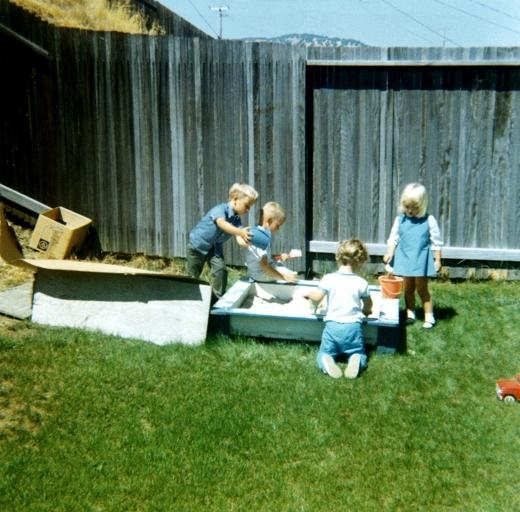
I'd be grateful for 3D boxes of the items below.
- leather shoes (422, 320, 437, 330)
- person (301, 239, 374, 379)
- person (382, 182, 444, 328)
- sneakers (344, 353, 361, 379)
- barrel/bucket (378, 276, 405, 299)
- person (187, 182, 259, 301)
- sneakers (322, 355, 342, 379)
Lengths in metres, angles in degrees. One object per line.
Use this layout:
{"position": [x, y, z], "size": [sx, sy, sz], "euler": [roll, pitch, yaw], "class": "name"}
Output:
{"position": [1.384, 0.551, 5.195], "size": [0.104, 0.046, 0.047], "euler": [-8, 28, -14], "class": "leather shoes"}
{"position": [0.562, 0.328, 4.482], "size": [0.447, 0.859, 0.651], "euler": [2, 9, 11], "class": "person"}
{"position": [1.282, -0.031, 5.291], "size": [0.428, 1.150, 0.450], "euler": [-1, 9, -9], "class": "person"}
{"position": [0.623, 0.729, 4.301], "size": [0.100, 0.131, 0.166], "euler": [3, 10, 14], "class": "sneakers"}
{"position": [1.082, 0.241, 5.295], "size": [0.161, 0.157, 0.184], "euler": [0, 8, -6], "class": "barrel/bucket"}
{"position": [-0.323, -0.076, 5.312], "size": [0.542, 1.120, 0.404], "euler": [16, 15, 18], "class": "person"}
{"position": [0.502, 0.733, 4.309], "size": [0.134, 0.115, 0.190], "euler": [-2, 10, -14], "class": "sneakers"}
